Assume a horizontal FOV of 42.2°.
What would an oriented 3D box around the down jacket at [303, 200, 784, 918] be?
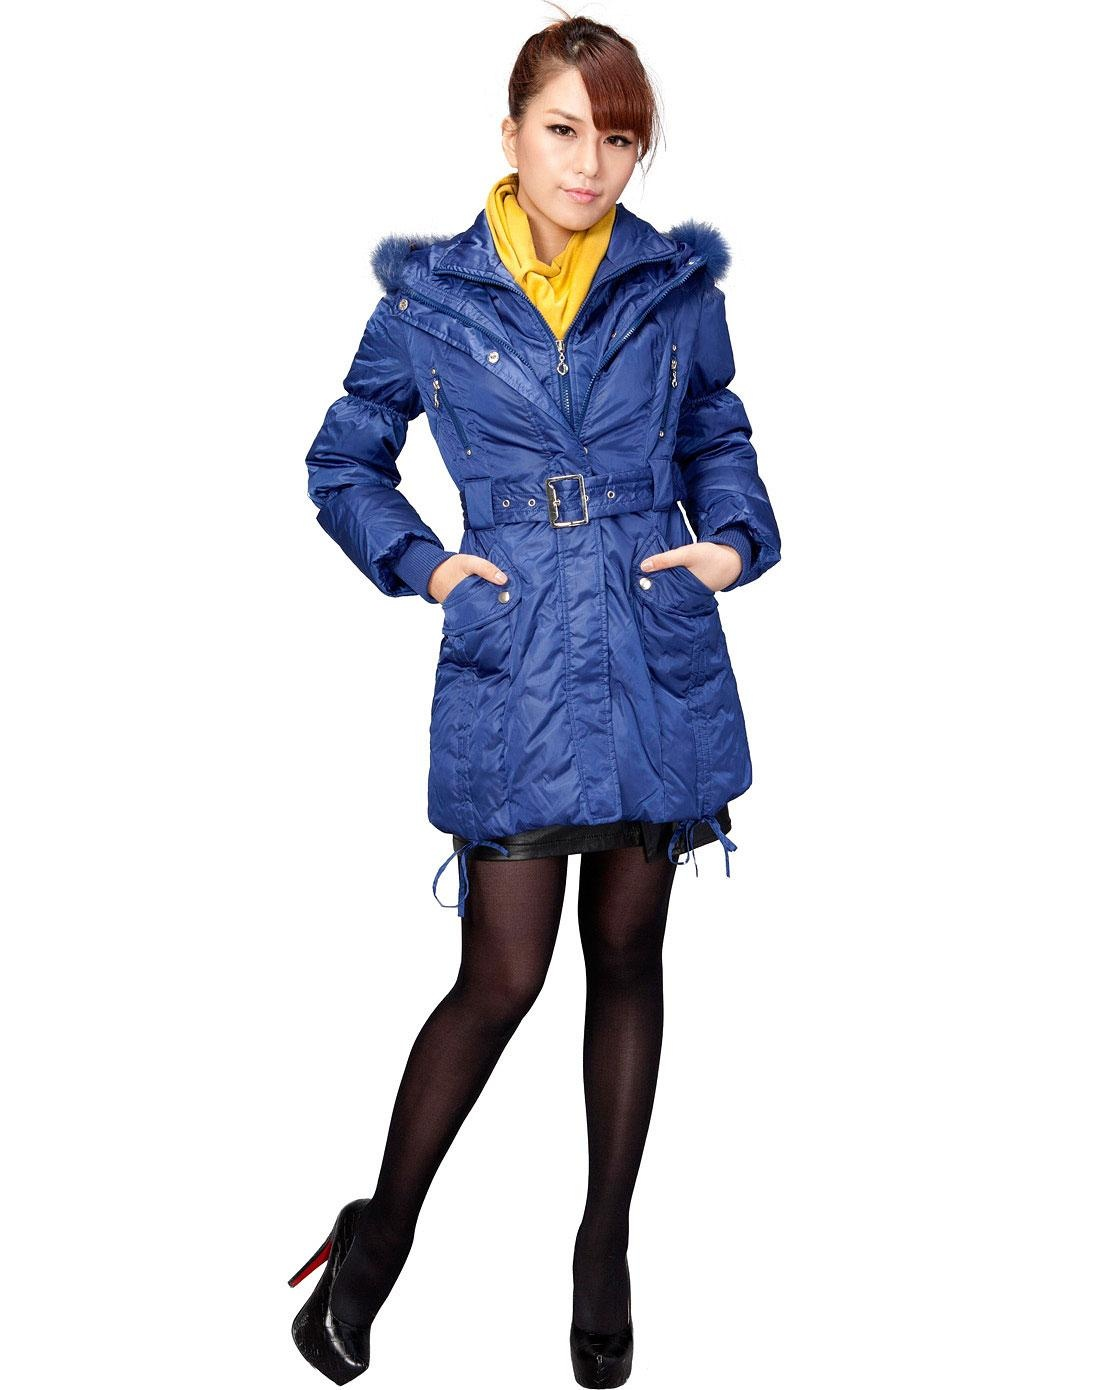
[{"bbox_3d":[-0.029,-0.304,2.569,0.871,0.927,0.930,-2,-52,9],"label":"down jacket"}]
